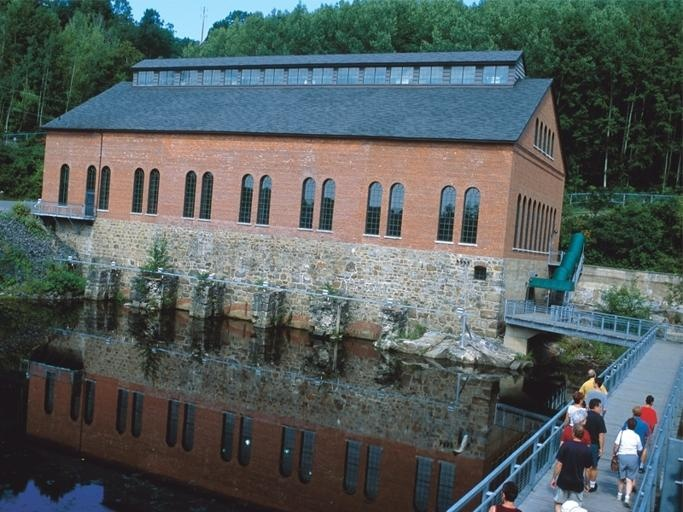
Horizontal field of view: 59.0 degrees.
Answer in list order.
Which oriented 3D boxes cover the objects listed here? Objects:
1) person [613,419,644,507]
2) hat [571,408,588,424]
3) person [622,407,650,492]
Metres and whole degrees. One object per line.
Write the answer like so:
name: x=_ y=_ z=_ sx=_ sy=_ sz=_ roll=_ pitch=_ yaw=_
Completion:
person: x=6.769 y=4.856 z=14.349 sx=0.570 sy=1.846 sz=0.922 roll=9 pitch=11 yaw=28
hat: x=5.823 y=3.941 z=14.815 sx=0.397 sy=0.438 sz=0.251 roll=8 pitch=-5 yaw=24
person: x=7.488 y=4.546 z=15.186 sx=0.617 sy=1.598 sz=0.634 roll=-13 pitch=12 yaw=-43
